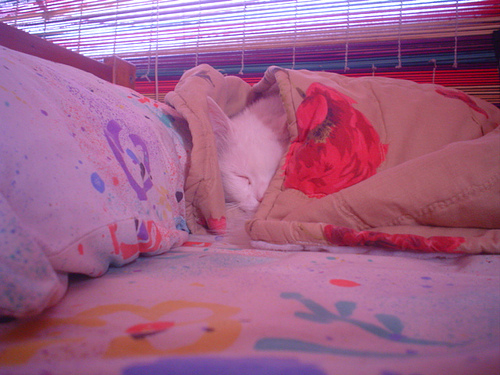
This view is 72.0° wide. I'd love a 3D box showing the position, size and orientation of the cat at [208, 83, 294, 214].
[{"bbox_3d":[0.017,-0.124,1.354,0.264,0.450,0.324,10,-24,0],"label":"cat"}]
